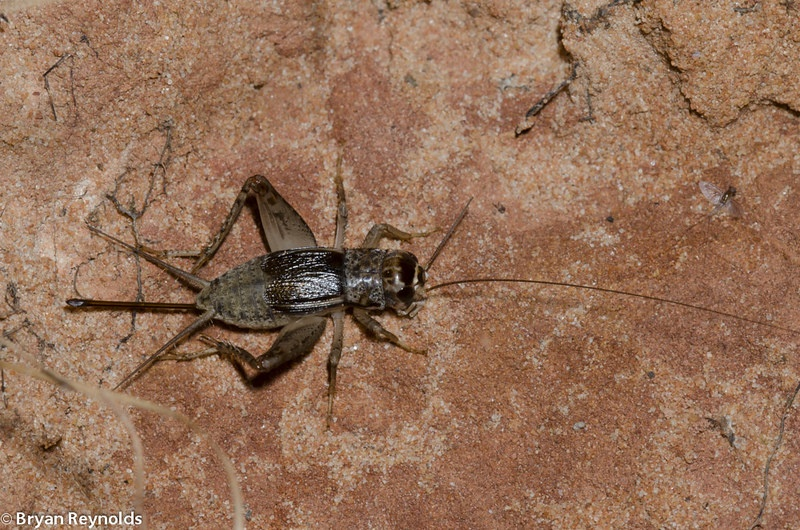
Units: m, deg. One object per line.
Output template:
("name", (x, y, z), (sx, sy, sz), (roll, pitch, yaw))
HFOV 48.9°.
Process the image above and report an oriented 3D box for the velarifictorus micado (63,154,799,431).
("velarifictorus micado", (-0.796, 0.182, 7.985), (4.280, 0.745, 1.787), (-1, 83, 0))
